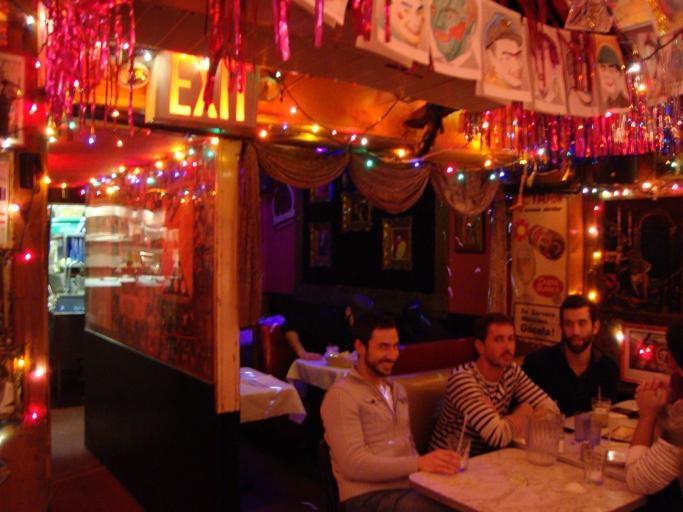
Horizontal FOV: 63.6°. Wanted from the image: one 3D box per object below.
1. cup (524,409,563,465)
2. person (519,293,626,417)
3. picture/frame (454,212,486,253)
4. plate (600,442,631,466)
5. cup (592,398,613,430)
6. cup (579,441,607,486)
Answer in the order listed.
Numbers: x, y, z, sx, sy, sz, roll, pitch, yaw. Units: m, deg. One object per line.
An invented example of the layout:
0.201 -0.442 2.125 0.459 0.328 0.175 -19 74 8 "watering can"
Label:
1.119 1.011 3.104 0.244 0.278 0.203 2 -2 22 "cup"
1.836 0.779 4.288 0.737 1.051 0.547 4 -10 17 "person"
1.421 -0.262 6.038 0.051 0.509 0.416 5 -3 -34 "picture/frame"
1.527 1.101 3.066 0.126 0.033 0.132 -3 3 3 "plate"
1.675 1.004 3.560 0.096 0.187 0.234 1 1 29 "cup"
1.303 1.068 2.855 0.104 0.196 0.138 1 1 23 "cup"
